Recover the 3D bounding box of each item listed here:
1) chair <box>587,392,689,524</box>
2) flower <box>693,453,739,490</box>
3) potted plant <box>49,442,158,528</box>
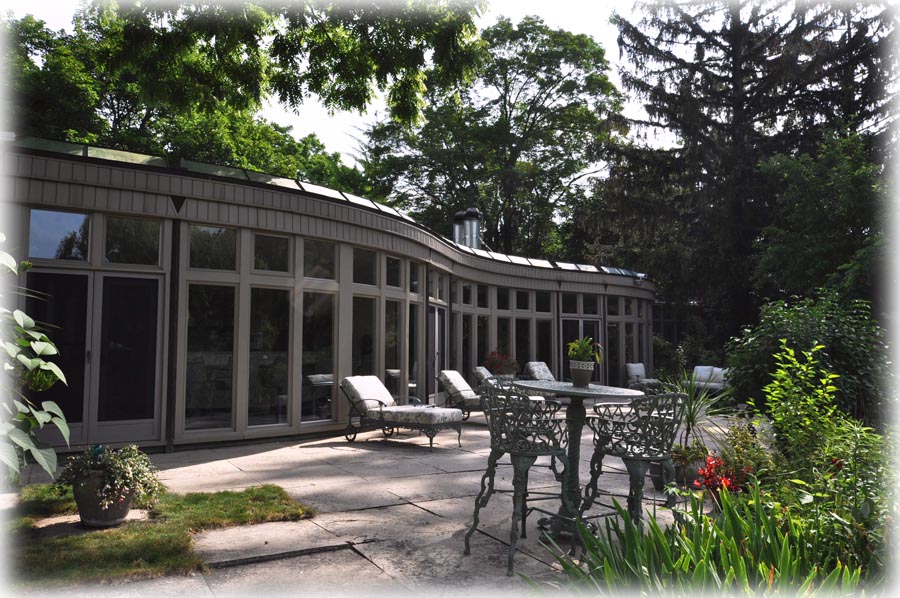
[{"bbox_3d":[2.424,2.039,9.337,1.435,2.308,1.419,0,-7,25],"label":"chair"},{"bbox_3d":[3.471,2.365,8.863,0.485,0.494,1.041,4,8,24],"label":"flower"},{"bbox_3d":[-4.267,2.320,8.648,0.996,0.849,1.064,3,-12,4],"label":"potted plant"}]
